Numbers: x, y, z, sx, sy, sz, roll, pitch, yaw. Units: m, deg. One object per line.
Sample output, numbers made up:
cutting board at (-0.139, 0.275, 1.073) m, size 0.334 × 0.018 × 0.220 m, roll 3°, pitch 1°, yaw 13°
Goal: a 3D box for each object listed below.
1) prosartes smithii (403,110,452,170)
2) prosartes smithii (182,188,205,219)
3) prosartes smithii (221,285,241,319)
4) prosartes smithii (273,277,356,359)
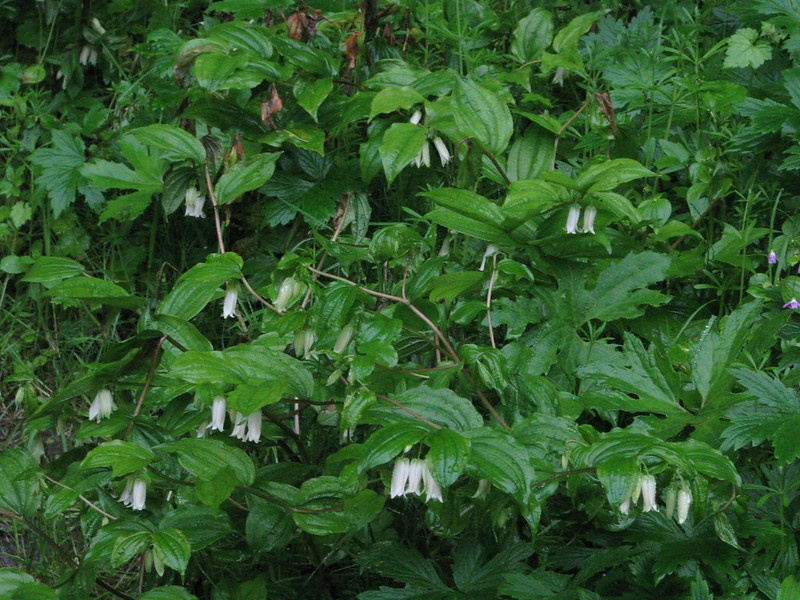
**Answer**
prosartes smithii at (0.115, -0.641, 2.982) m, size 0.243 × 0.226 × 0.088 m, roll -6°, pitch 27°, yaw 13°
prosartes smithii at (-0.887, -0.398, 3.330) m, size 0.077 × 0.210 × 0.136 m, roll -4°, pitch 58°, yaw -13°
prosartes smithii at (-0.579, 0.006, 2.642) m, size 0.047 × 0.115 × 0.112 m, roll -1°, pitch 56°, yaw -11°
prosartes smithii at (-0.236, 0.063, 2.457) m, size 0.265 × 0.080 × 0.252 m, roll 39°, pitch 64°, yaw -19°
